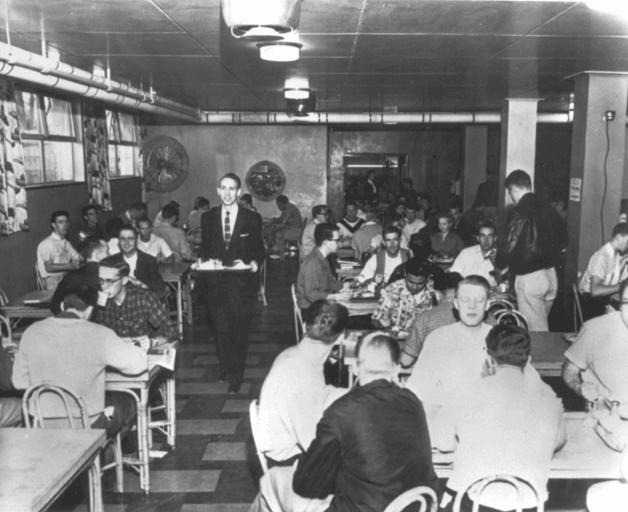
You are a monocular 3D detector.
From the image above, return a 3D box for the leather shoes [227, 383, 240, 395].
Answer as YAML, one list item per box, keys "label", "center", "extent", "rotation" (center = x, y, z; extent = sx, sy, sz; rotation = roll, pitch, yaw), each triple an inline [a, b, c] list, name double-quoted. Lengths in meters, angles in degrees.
- label: "leather shoes"
  center: [-0.777, 1.300, 5.986]
  extent: [0.113, 0.094, 0.167]
  rotation: [4, -12, 0]
